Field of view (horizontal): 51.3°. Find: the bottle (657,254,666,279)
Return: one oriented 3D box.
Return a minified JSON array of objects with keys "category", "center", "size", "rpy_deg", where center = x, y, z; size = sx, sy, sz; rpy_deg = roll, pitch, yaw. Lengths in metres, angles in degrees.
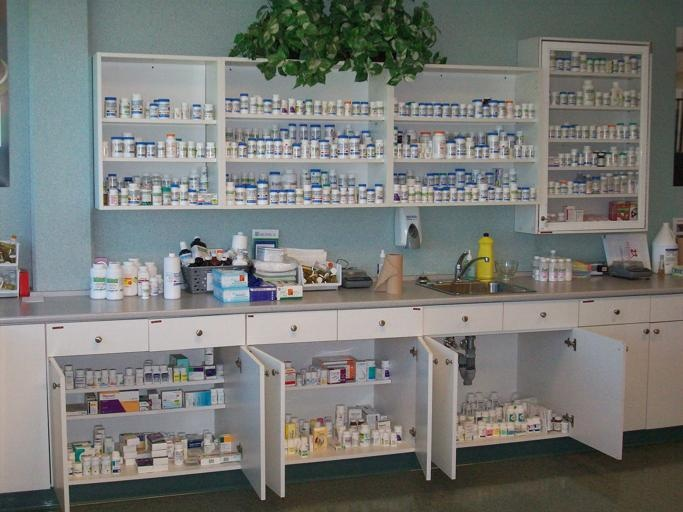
[{"category":"bottle","center":[2.506,0.073,5.538],"size":[0.050,0.145,0.185],"rpy_deg":[6,13,24]}]

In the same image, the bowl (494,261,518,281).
[{"category":"bowl","center":[1.234,0.105,5.323],"size":[0.173,0.122,0.149],"rpy_deg":[-1,6,-6]}]

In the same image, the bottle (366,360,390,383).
[{"category":"bottle","center":[0.249,0.788,4.934],"size":[0.189,0.169,0.124],"rpy_deg":[0,-2,-10]}]

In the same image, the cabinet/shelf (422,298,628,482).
[{"category":"cabinet/shelf","center":[1.197,0.883,4.921],"size":[1.299,0.786,1.273],"rpy_deg":[-2,3,-12]}]

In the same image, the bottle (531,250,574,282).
[{"category":"bottle","center":[1.580,0.070,5.345],"size":[0.249,0.217,0.241],"rpy_deg":[3,4,41]}]

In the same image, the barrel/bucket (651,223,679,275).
[{"category":"barrel/bucket","center":[2.549,-0.052,5.581],"size":[0.194,0.377,0.280],"rpy_deg":[6,14,22]}]

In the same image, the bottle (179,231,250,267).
[{"category":"bottle","center":[-0.857,-0.035,4.786],"size":[0.464,0.192,0.465],"rpy_deg":[0,12,0]}]

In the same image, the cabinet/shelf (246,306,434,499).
[{"category":"cabinet/shelf","center":[0.147,0.916,4.881],"size":[1.589,1.361,1.118],"rpy_deg":[-2,3,-19]}]

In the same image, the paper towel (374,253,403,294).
[{"category":"paper towel","center":[0.327,0.131,4.857],"size":[0.211,0.260,0.132],"rpy_deg":[-5,15,-18]}]

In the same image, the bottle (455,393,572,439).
[{"category":"bottle","center":[1.190,1.160,5.078],"size":[0.530,0.150,0.373],"rpy_deg":[1,0,-11]}]

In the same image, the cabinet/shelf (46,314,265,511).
[{"category":"cabinet/shelf","center":[-1.161,0.931,4.424],"size":[1.666,1.228,1.163],"rpy_deg":[-1,2,-21]}]
